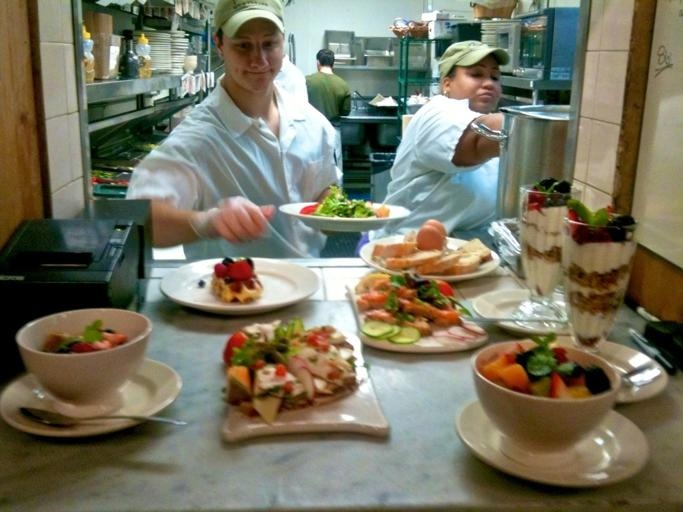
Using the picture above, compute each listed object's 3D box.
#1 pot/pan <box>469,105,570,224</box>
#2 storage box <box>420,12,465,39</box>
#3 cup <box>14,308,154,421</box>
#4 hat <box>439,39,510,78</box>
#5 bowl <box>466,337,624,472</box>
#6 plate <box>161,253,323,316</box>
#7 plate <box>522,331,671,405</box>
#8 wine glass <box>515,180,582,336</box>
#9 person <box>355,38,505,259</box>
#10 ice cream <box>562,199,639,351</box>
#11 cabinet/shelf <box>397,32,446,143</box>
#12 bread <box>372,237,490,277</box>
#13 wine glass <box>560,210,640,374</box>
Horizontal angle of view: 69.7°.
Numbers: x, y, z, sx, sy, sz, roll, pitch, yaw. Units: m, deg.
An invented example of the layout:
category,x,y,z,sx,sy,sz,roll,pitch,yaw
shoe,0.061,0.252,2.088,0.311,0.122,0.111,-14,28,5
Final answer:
category,x,y,z,sx,sy,sz,roll,pitch,yaw
pot/pan,0.534,-0.260,1.485,0.234,0.369,0.250,-1,16,-3
storage box,1.159,-2.645,5.597,0.428,0.361,1.155,2,20,6
cup,-0.380,0.140,0.747,0.169,0.109,0.165,2,14,0
hat,0.706,-1.047,2.601,0.249,0.205,0.295,-2,17,-6
bowl,0.266,0.192,0.658,0.172,0.115,0.134,13,24,31
plate,-0.195,0.014,1.225,0.350,0.109,0.454,-7,16,-44
plate,0.451,0.170,0.858,0.162,0.102,0.178,0,12,-14
wine glass,0.407,0.006,1.057,0.109,0.321,0.121,-2,20,-9
person,0.489,-0.500,2.381,0.515,1.007,0.946,-1,16,-6
ice cream,0.456,0.049,0.878,0.115,0.250,0.110,7,20,33
cabinet/shelf,0.933,-2.267,5.956,0.614,1.788,0.888,0,16,1
bread,0.231,-0.019,1.401,0.328,0.094,0.234,-1,9,-18
wine glass,0.438,0.060,0.873,0.099,0.264,0.089,4,17,2
